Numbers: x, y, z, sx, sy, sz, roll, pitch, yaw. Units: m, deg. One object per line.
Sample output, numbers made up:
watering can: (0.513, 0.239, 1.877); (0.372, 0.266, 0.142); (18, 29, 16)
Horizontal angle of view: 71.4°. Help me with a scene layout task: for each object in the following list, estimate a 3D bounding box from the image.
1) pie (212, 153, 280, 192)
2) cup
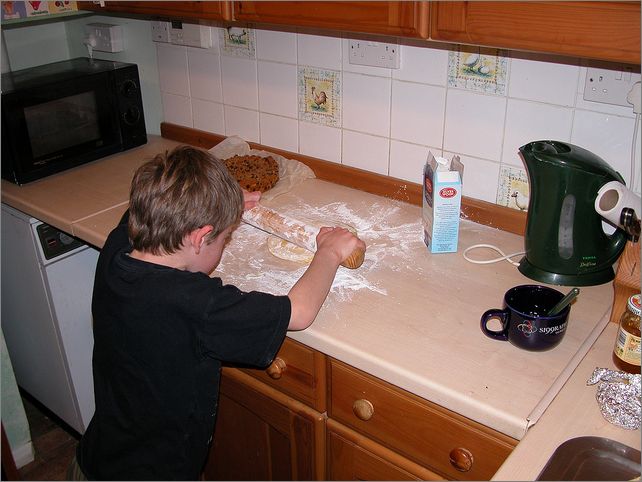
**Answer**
pie: (-0.285, -0.314, 1.772); (0.306, 0.134, 0.272); (-1, 29, -9)
cup: (0.482, 0.178, 1.055); (0.184, 0.128, 0.140); (16, 30, 23)
